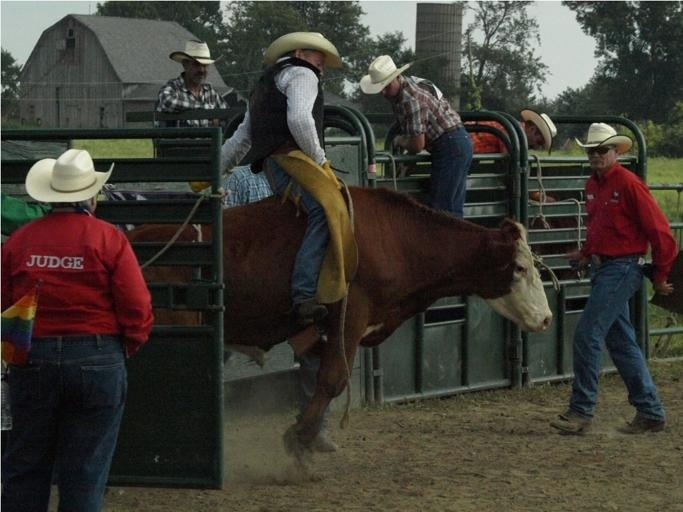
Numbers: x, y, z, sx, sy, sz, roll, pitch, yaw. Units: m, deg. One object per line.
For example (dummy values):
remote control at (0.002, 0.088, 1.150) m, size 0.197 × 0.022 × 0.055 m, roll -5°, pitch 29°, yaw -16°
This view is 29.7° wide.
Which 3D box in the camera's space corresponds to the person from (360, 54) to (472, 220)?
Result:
person at (0.770, -0.897, 12.477) m, size 1.127 × 1.922 × 0.711 m, roll -5°, pitch 12°, yaw -1°

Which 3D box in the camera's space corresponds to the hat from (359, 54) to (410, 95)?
hat at (0.395, -1.742, 12.261) m, size 0.372 × 0.372 × 0.562 m, roll -1°, pitch 3°, yaw -6°

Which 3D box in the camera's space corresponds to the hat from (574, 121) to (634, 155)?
hat at (2.445, -1.132, 12.045) m, size 0.451 × 0.156 × 0.423 m, roll -3°, pitch 16°, yaw 7°

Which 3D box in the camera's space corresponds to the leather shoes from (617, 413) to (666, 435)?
leather shoes at (2.815, 1.597, 11.885) m, size 0.448 × 0.202 × 0.168 m, roll 2°, pitch -4°, yaw 0°

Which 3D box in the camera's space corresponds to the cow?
cow at (-0.134, 0.528, 11.000) m, size 3.804 × 2.225 × 0.908 m, roll 7°, pitch 14°, yaw 0°

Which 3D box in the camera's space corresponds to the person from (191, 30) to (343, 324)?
person at (-0.361, -0.664, 10.690) m, size 0.597 × 2.435 × 0.833 m, roll -2°, pitch 3°, yaw -28°

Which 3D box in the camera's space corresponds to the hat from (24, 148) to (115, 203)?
hat at (-2.011, -0.607, 9.426) m, size 0.701 × 0.247 × 0.742 m, roll -6°, pitch 15°, yaw -12°

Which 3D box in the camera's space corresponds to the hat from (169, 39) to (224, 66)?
hat at (-1.539, -2.120, 13.364) m, size 0.479 × 0.175 × 0.419 m, roll 4°, pitch 6°, yaw -15°

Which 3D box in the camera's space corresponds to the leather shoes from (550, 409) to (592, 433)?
leather shoes at (2.147, 1.569, 11.819) m, size 0.410 × 0.186 × 0.167 m, roll 4°, pitch -1°, yaw -15°

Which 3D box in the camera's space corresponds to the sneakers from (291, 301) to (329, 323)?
sneakers at (-0.254, 0.479, 10.424) m, size 0.244 × 0.199 × 0.171 m, roll 16°, pitch 1°, yaw 12°

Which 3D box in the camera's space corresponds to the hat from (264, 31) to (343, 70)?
hat at (-0.396, -1.786, 10.932) m, size 0.606 × 0.232 × 0.594 m, roll -4°, pitch -9°, yaw 31°

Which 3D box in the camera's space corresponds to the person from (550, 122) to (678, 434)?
person at (2.586, 0.209, 11.842) m, size 1.046 × 2.881 × 0.619 m, roll 0°, pitch 3°, yaw 10°

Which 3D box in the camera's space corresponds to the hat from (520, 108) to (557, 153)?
hat at (2.125, -1.350, 13.667) m, size 0.360 × 0.448 × 0.639 m, roll 0°, pitch 3°, yaw 8°
